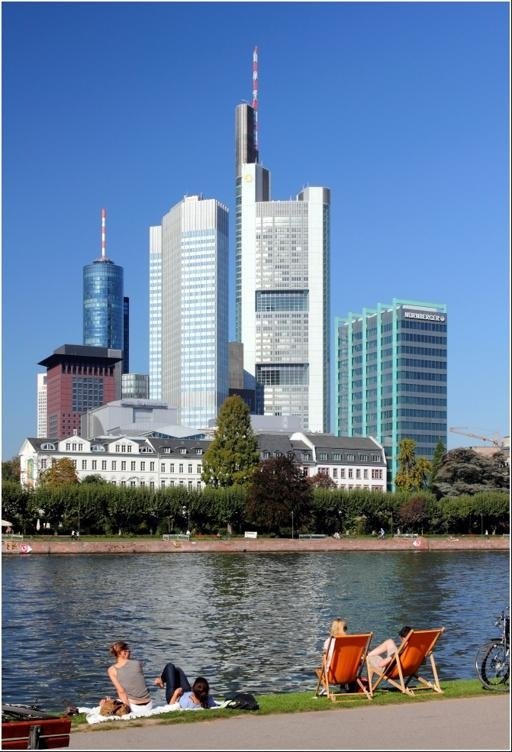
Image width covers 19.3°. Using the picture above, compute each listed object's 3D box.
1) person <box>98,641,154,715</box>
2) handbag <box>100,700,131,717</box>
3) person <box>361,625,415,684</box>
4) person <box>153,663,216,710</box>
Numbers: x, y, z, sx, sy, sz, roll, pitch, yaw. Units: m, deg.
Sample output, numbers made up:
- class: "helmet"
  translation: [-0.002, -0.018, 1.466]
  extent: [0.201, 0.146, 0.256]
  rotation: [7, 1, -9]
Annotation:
- class: "person"
  translation: [-2.335, 5.378, 26.932]
  extent: [0.912, 1.187, 1.188]
  rotation: [-1, -4, -7]
- class: "handbag"
  translation: [-2.511, 5.841, 26.486]
  extent: [0.560, 0.221, 0.681]
  rotation: [-2, -4, 6]
- class: "person"
  translation: [2.518, 5.302, 30.065]
  extent: [1.120, 0.471, 0.733]
  rotation: [-10, 37, -21]
- class: "person"
  translation: [-1.233, 5.572, 27.777]
  extent: [0.656, 1.046, 1.562]
  rotation: [3, -13, -30]
